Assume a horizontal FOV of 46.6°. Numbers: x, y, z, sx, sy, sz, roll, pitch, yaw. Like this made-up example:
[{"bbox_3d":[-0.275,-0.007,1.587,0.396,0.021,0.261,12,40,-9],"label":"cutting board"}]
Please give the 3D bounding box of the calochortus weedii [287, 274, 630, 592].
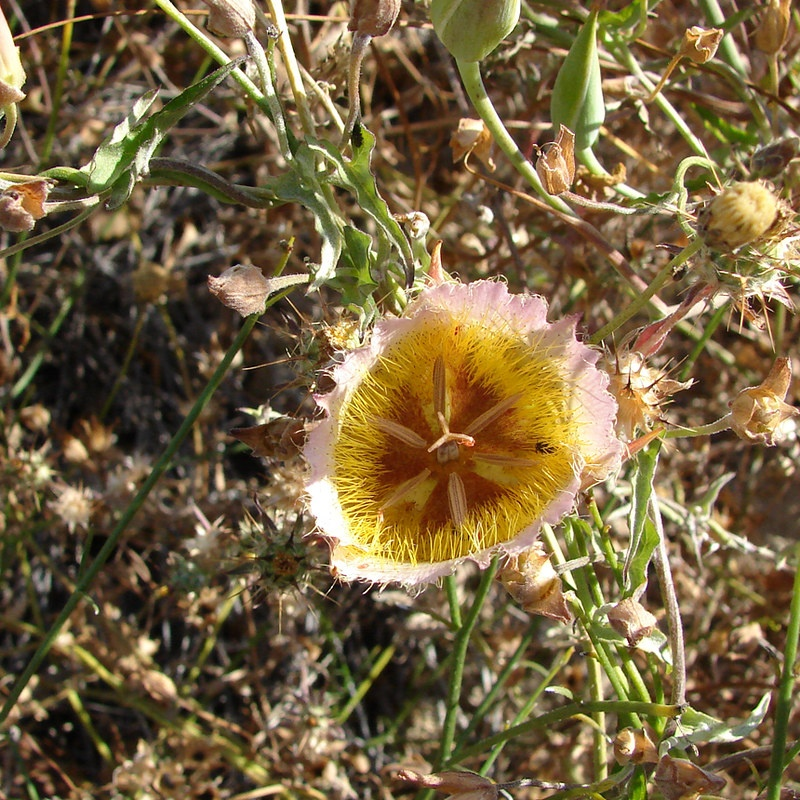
[{"bbox_3d":[0.102,0.073,2.209,0.731,0.464,0.566,-32,87,-1],"label":"calochortus weedii"}]
